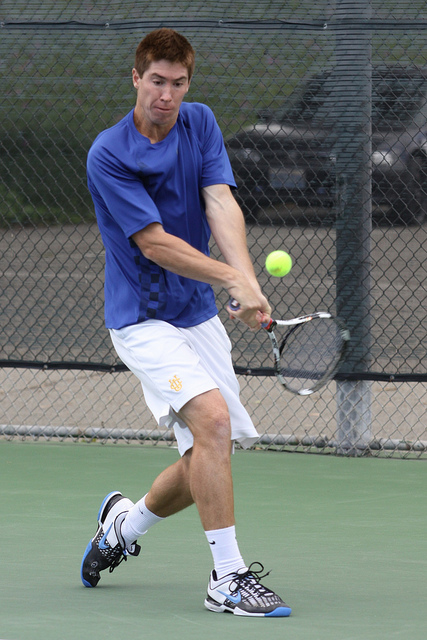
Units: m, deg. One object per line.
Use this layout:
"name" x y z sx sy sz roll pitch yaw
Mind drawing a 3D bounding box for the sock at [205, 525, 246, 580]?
"sock" 0.026 0.562 1.738 0.077 0.138 0.068 0 2 17

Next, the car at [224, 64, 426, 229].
"car" 0.764 -1.078 4.813 1.435 0.897 2.153 0 0 19

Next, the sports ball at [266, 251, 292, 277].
"sports ball" 0.220 -0.191 2.506 0.095 0.077 0.080 -5 32 5

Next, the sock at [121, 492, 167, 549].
"sock" -0.205 0.571 2.034 0.057 0.180 0.133 -2 2 -37
